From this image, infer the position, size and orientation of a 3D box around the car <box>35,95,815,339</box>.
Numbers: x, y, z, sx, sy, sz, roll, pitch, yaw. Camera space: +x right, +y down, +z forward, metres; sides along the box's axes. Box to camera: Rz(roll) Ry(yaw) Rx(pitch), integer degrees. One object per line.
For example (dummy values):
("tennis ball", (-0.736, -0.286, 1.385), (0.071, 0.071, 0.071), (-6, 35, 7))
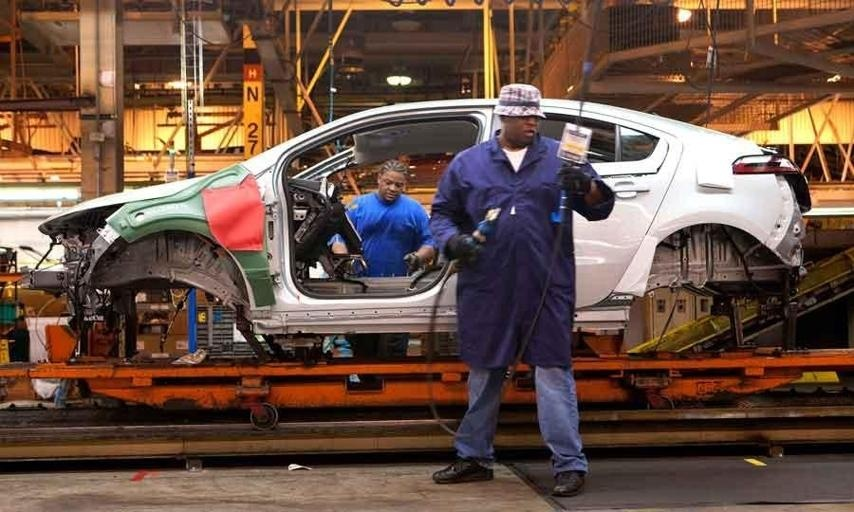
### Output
("car", (0.097, -0.577, 23.771), (10.925, 2.542, 3.995), (1, -2, 2))

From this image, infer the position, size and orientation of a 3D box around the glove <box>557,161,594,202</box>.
("glove", (2.040, -0.996, 21.601), (0.437, 0.480, 0.264), (-22, 8, -22))

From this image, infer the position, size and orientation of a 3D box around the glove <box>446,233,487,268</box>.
("glove", (0.499, -0.079, 21.654), (0.513, 0.426, 0.210), (-1, 4, -1))

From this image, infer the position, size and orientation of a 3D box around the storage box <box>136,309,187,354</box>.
("storage box", (-4.390, 1.263, 26.608), (1.096, 0.720, 0.310), (1, -7, -10))
